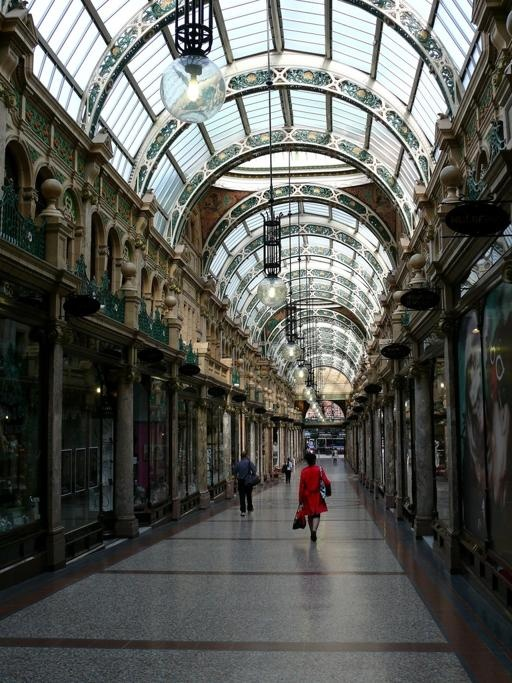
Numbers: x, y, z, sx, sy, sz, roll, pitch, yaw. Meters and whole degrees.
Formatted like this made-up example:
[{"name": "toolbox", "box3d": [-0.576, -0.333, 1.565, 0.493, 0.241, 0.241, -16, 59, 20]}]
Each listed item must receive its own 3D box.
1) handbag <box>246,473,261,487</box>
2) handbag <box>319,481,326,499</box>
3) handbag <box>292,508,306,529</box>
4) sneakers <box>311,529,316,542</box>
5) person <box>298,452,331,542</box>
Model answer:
[{"name": "handbag", "box3d": [-0.076, 4.305, 17.010, 0.359, 0.389, 0.819, 0, -12, -2]}, {"name": "handbag", "box3d": [1.484, 3.289, 12.185, 0.086, 0.321, 0.208, 1, -2, 4]}, {"name": "handbag", "box3d": [0.931, 3.815, 11.786, 0.202, 0.380, 0.503, -2, -12, 10]}, {"name": "sneakers", "box3d": [1.225, 4.149, 11.709, 0.092, 0.186, 0.242, 1, -12, -5]}, {"name": "person", "box3d": [1.315, 3.422, 12.257, 0.671, 2.113, 0.694, -5, 12, -10]}]
